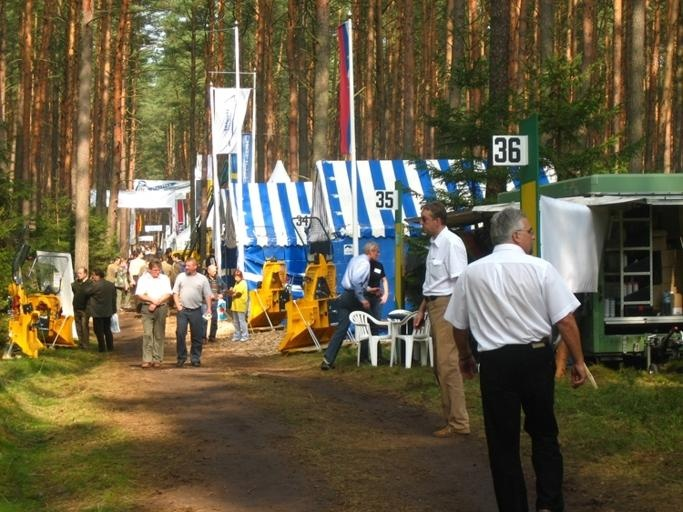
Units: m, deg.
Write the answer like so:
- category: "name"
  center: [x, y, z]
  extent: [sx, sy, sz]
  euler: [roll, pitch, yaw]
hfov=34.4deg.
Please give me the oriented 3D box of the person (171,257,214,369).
- category: "person"
  center: [-3.090, 1.166, 22.708]
  extent: [0.766, 2.276, 0.694]
  euler: [-4, 6, -12]

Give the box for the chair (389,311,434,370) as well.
- category: "chair"
  center: [1.467, 1.582, 21.126]
  extent: [0.787, 1.111, 0.830]
  euler: [1, -5, 4]

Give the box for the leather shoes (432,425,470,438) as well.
- category: "leather shoes"
  center: [1.627, 2.604, 16.420]
  extent: [0.518, 0.270, 0.208]
  euler: [3, -4, 4]

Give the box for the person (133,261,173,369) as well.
- category: "person"
  center: [-3.864, 1.207, 22.746]
  extent: [0.707, 2.152, 1.033]
  euler: [-4, 6, -12]

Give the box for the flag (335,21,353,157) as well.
- category: "flag"
  center: [0.060, -3.697, 24.333]
  extent: [0.298, 2.904, 1.161]
  euler: [-3, 6, -1]

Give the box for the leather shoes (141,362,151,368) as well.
- category: "leather shoes"
  center: [-3.976, 2.206, 22.358]
  extent: [0.180, 0.114, 0.218]
  euler: [-4, 7, -7]

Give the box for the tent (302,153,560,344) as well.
- category: "tent"
  center: [1.730, 0.622, 26.759]
  extent: [6.159, 4.182, 3.508]
  euler: [-1, 1, -13]

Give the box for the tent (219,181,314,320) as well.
- category: "tent"
  center: [-2.350, -0.238, 33.044]
  extent: [3.551, 5.209, 3.121]
  euler: [-1, 1, -13]

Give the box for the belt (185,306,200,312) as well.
- category: "belt"
  center: [-3.020, 1.070, 22.533]
  extent: [0.106, 0.101, 0.384]
  euler: [3, 9, 45]

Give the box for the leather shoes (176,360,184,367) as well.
- category: "leather shoes"
  center: [-3.345, 2.227, 22.755]
  extent: [0.095, 0.127, 0.279]
  euler: [0, -6, 0]

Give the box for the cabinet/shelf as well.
- category: "cabinet/shelf"
  center: [5.284, 0.107, 20.271]
  extent: [1.280, 2.020, 0.485]
  euler: [-5, 7, -22]

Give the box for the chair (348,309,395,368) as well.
- category: "chair"
  center: [0.579, 1.594, 21.531]
  extent: [0.800, 1.013, 0.708]
  euler: [0, -2, -38]
